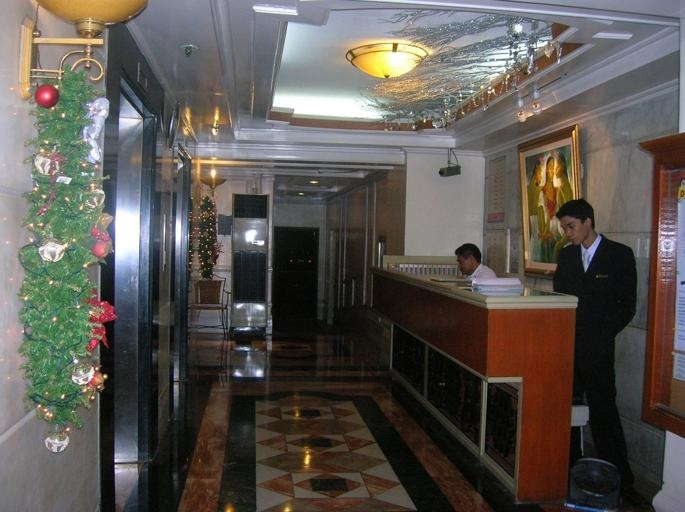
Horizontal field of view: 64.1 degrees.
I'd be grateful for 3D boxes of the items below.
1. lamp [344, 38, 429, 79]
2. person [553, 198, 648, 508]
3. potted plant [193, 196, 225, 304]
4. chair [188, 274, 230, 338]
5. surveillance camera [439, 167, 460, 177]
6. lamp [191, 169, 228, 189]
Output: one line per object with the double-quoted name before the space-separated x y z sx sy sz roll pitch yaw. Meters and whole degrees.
"lamp" 0.450 -1.908 5.506 0.792 0.229 0.779 -5 4 -42
"person" 2.082 0.733 4.469 0.739 2.360 0.441 3 4 29
"potted plant" -2.517 -0.130 10.397 0.514 2.045 1.288 0 4 -13
"chair" -2.452 0.918 10.104 0.695 1.037 0.692 2 -21 -17
"surveillance camera" 1.571 -1.234 8.031 0.163 0.110 0.304 0 3 10
"lamp" -2.164 -1.246 8.992 0.474 0.388 0.595 0 3 -15
